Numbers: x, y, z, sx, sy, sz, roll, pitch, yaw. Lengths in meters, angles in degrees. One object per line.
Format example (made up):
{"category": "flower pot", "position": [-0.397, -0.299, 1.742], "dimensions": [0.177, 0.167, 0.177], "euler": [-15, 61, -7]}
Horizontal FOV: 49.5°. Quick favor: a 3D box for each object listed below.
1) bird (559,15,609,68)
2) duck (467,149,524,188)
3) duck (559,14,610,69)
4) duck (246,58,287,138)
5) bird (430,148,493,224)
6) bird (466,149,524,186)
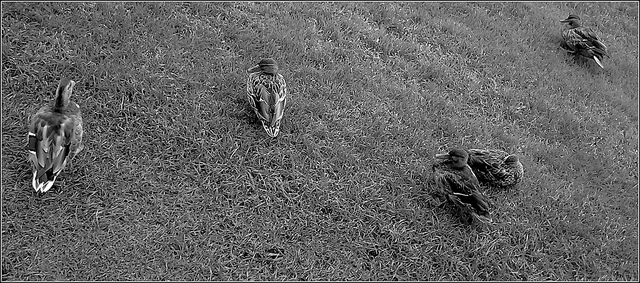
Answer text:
{"category": "bird", "position": [6.772, -2.556, 17.957], "dimensions": [0.779, 0.523, 1.526], "euler": [-17, 64, -26]}
{"category": "duck", "position": [4.058, 0.619, 16.158], "dimensions": [1.503, 0.729, 0.673], "euler": [16, 51, 17]}
{"category": "duck", "position": [6.871, -2.697, 18.101], "dimensions": [1.632, 0.905, 0.796], "euler": [24, 32, 22]}
{"category": "duck", "position": [-1.267, -1.019, 16.130], "dimensions": [0.833, 0.736, 1.854], "euler": [3, 58, -17]}
{"category": "bird", "position": [3.235, 1.085, 15.794], "dimensions": [1.741, 1.138, 1.033], "euler": [51, 34, 17]}
{"category": "bird", "position": [4.054, 0.578, 16.143], "dimensions": [1.495, 0.720, 0.634], "euler": [16, 52, 13]}
